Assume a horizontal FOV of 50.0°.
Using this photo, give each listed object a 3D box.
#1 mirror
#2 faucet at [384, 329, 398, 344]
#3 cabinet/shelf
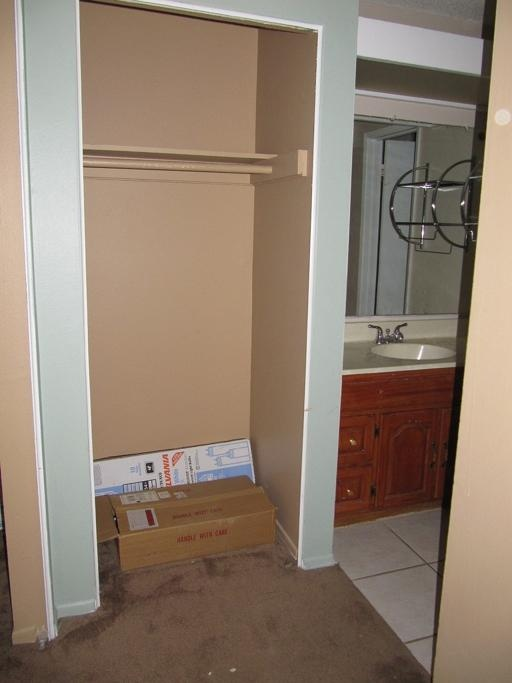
[{"bbox_3d":[0.841,-0.716,3.005,0.784,1.174,0.080,-3,11,-23],"label":"mirror"},{"bbox_3d":[0.752,-0.030,3.090,0.125,0.075,0.064,-7,13,-39],"label":"faucet"},{"bbox_3d":[0.639,0.486,2.631,0.702,0.729,0.386,-4,8,-21],"label":"cabinet/shelf"}]
